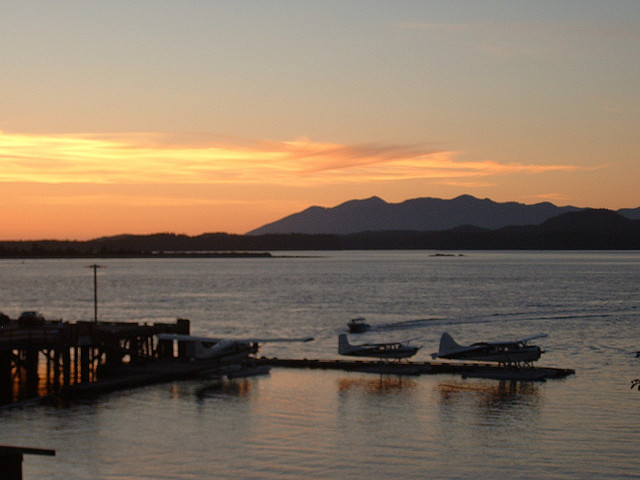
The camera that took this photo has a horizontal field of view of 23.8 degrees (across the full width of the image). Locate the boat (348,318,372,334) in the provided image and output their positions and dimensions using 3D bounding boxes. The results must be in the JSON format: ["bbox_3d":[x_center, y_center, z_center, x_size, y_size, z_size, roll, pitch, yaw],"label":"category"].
[{"bbox_3d":[4.479,10.053,176.360,2.455,1.613,4.340,-1,-2,7],"label":"boat"}]

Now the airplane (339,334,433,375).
[{"bbox_3d":[6.672,11.269,154.654,10.884,3.606,26.497,0,-2,-4],"label":"airplane"}]
